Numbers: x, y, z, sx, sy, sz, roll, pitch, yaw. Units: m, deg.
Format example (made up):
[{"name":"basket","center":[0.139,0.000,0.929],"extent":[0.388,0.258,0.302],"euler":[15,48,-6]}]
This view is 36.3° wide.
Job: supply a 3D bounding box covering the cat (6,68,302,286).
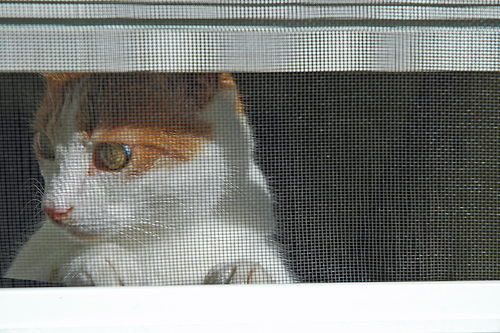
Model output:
[{"name":"cat","center":[-0.274,0.057,2.404],"extent":[0.666,0.727,0.691],"euler":[-6,81,36]}]
